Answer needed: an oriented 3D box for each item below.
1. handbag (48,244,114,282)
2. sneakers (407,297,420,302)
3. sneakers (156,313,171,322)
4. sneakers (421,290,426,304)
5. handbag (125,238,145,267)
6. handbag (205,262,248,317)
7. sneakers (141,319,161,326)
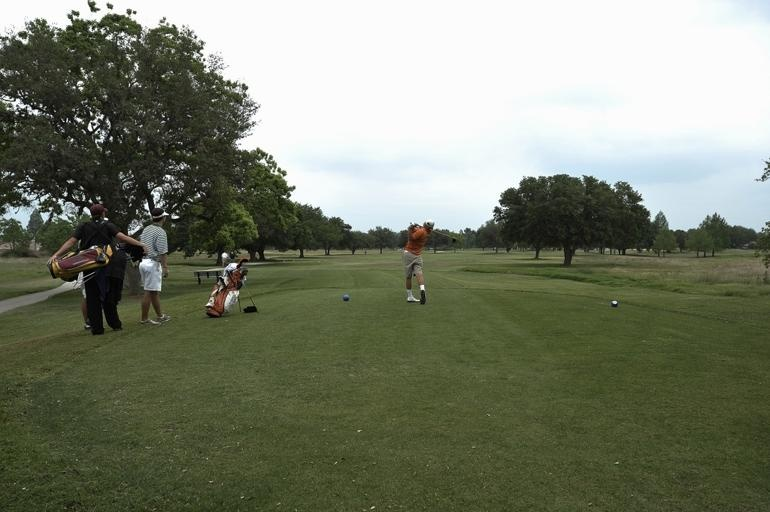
[{"bbox_3d":[-7.453,0.099,12.609,1.253,0.530,0.822,-21,27,-24],"label":"handbag"},{"bbox_3d":[1.009,1.449,17.363,0.460,0.198,0.159,-1,2,-15],"label":"sneakers"},{"bbox_3d":[-6.206,1.715,14.427,0.190,0.175,0.419,4,2,21],"label":"sneakers"},{"bbox_3d":[1.234,1.313,16.625,0.155,0.462,0.195,-2,0,5],"label":"sneakers"},{"bbox_3d":[-6.661,-0.067,13.826,0.533,0.629,0.473,-3,2,-3],"label":"handbag"},{"bbox_3d":[-4.642,0.916,15.217,0.860,1.672,1.568,0,9,4],"label":"handbag"},{"bbox_3d":[-6.347,1.785,13.951,0.592,0.252,0.193,4,1,-33],"label":"sneakers"}]
